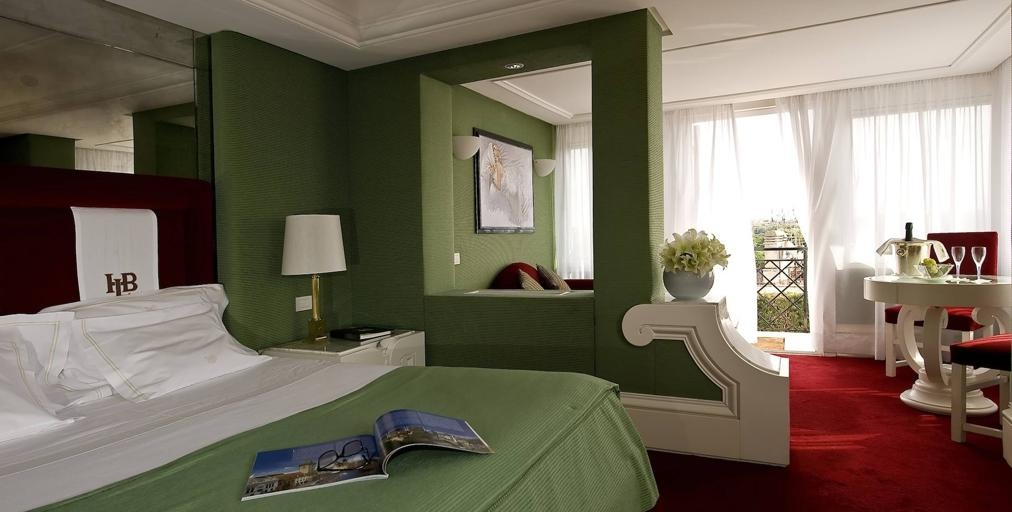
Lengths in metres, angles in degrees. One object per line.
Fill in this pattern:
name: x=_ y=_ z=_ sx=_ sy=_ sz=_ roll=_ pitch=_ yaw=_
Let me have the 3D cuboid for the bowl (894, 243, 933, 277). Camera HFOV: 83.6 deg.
bowl: x=4.404 y=0.055 z=6.146 sx=0.357 sy=0.324 sz=0.301 roll=6 pitch=-2 yaw=-14

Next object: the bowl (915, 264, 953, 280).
bowl: x=4.529 y=0.180 z=6.005 sx=0.261 sy=0.080 sz=0.250 roll=-2 pitch=4 yaw=0

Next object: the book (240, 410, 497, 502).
book: x=-0.980 y=1.341 z=3.794 sx=1.351 sy=0.158 sz=0.599 roll=1 pitch=5 yaw=-13

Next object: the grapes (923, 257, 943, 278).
grapes: x=4.497 y=0.135 z=6.005 sx=0.144 sy=0.192 sz=0.178 roll=-2 pitch=3 yaw=6

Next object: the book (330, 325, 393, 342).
book: x=-1.429 y=0.789 z=5.857 sx=0.521 sy=0.091 sz=0.594 roll=0 pitch=3 yaw=38

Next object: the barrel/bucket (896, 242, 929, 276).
barrel/bucket: x=4.401 y=0.045 z=6.154 sx=0.386 sy=0.353 sz=0.388 roll=-2 pitch=-1 yaw=0

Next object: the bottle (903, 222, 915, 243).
bottle: x=4.343 y=-0.249 z=6.143 sx=0.088 sy=0.190 sz=0.223 roll=0 pitch=3 yaw=34
